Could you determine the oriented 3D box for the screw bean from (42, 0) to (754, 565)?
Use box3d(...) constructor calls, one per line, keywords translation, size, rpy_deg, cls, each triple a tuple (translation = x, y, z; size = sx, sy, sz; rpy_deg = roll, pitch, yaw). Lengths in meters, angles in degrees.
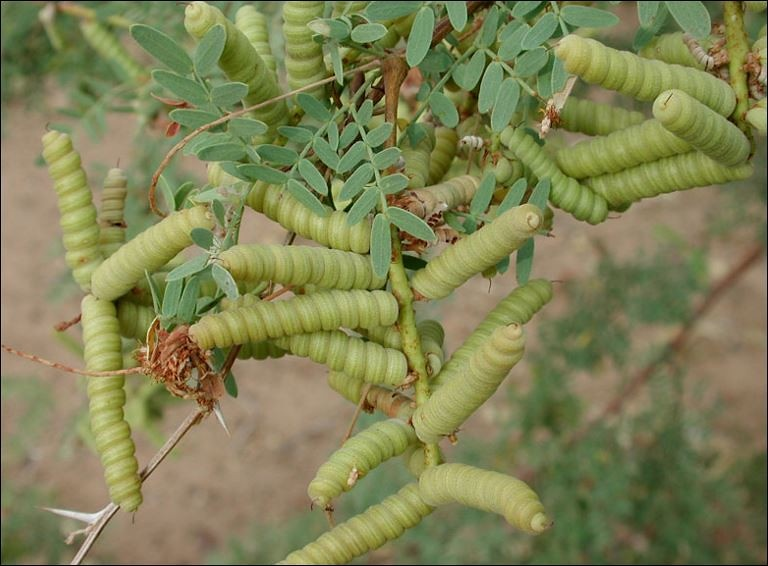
box3d(translation=(-0.015, -0.065, 1.551), size=(0.783, 0.328, 1.022), rpy_deg=(42, 79, 0), cls="screw bean")
